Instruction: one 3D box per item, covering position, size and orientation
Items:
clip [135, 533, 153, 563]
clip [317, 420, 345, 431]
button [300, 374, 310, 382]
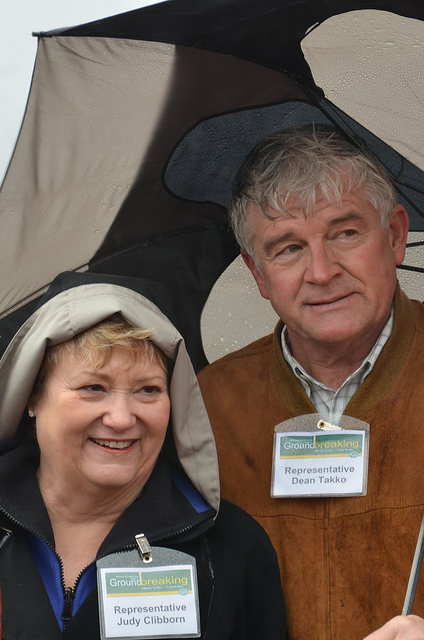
[{"bbox_3d":[-0.201,0.665,1.950,0.033,0.076,0.054,-25,-4,38],"label":"clip"},{"bbox_3d":[0.447,0.398,2.522,0.104,0.033,0.007,7,-9,16],"label":"clip"},{"bbox_3d":[0.377,0.238,2.751,0.012,0.036,0.025,-58,7,-3],"label":"button"}]
